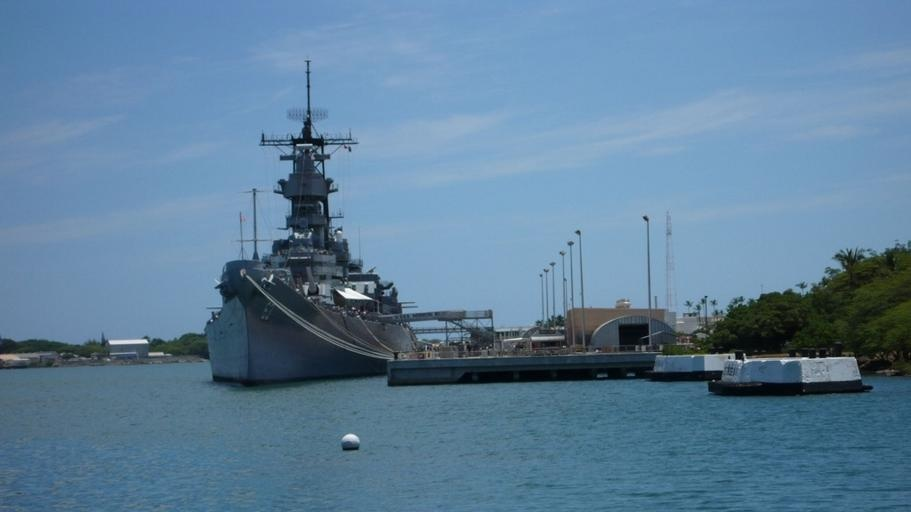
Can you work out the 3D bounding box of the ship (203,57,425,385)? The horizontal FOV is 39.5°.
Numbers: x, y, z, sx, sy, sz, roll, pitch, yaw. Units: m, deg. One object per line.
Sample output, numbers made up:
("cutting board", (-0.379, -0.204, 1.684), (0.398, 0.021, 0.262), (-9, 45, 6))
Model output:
("ship", (-18.482, -0.671, 155.165), (24.668, 29.960, 54.541), (4, -1, 4))
